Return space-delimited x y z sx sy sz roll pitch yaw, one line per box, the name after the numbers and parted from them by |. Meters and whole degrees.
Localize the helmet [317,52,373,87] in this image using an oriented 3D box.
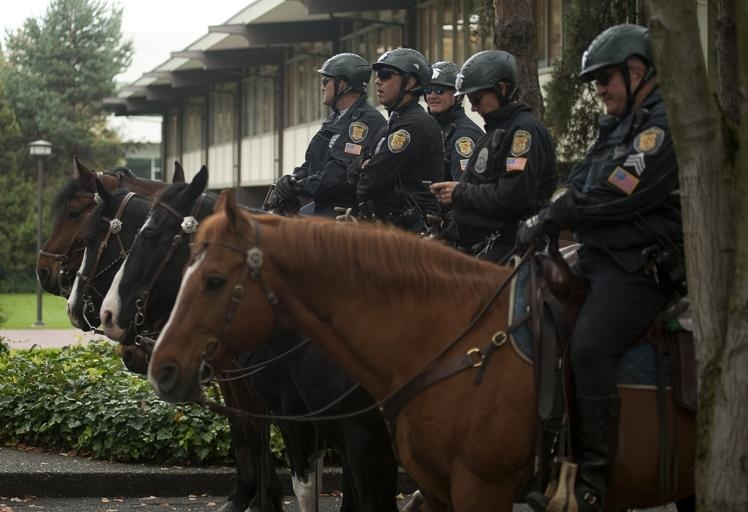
-0.262 -1.881 11.597 0.435 0.288 0.323 -7 10 -10 | helmet

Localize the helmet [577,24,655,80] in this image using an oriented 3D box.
1.771 -1.499 8.497 0.455 0.261 0.323 -11 -10 -3 | helmet

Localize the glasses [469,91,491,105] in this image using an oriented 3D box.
0.868 -1.307 9.498 0.134 0.064 0.100 -27 -2 -19 | glasses
